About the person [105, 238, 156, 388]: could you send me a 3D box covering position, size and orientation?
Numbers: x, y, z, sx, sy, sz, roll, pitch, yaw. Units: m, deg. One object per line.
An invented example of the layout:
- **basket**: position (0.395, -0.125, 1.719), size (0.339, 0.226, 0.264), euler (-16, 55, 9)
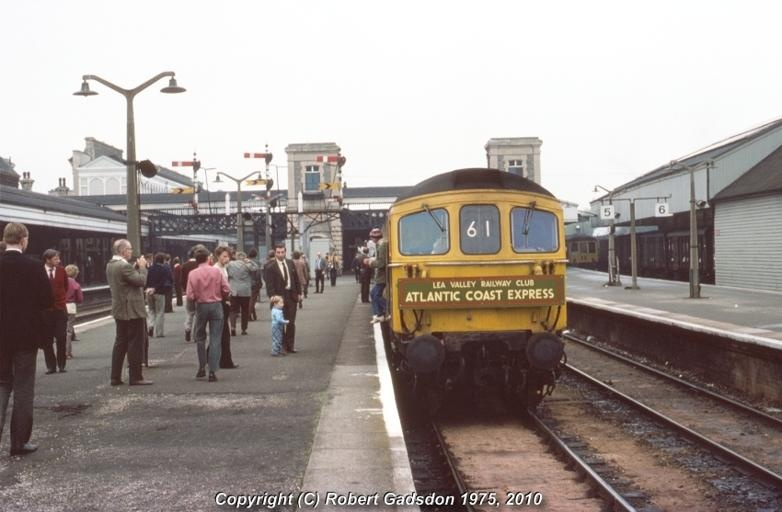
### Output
- **person**: position (-4.615, 0.952, 13.175), size (0.940, 2.411, 0.862), euler (0, 0, -18)

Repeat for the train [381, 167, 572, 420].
- **train**: position (1.394, 0.591, 12.087), size (2.810, 3.989, 1.244), euler (-1, 1, -1)
